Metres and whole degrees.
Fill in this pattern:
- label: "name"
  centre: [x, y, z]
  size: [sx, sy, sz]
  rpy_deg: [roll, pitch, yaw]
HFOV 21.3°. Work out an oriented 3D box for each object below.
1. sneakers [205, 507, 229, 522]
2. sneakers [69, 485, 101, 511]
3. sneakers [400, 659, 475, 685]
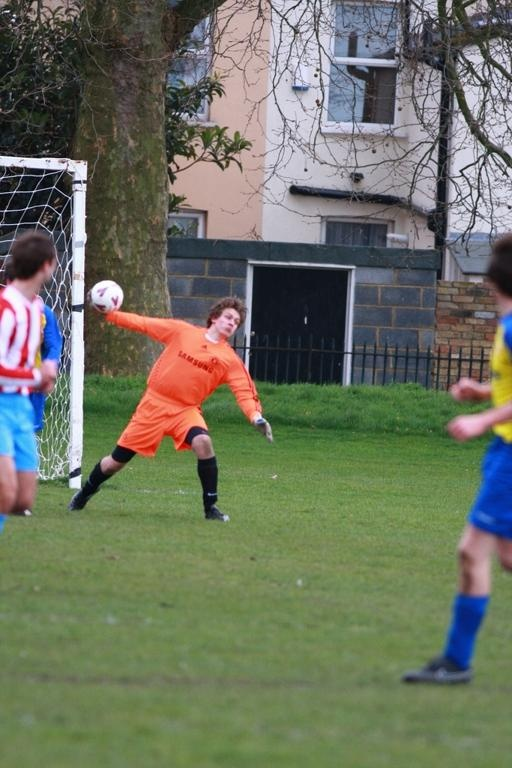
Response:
- label: "sneakers"
  centre: [-0.231, 0.818, 8.707]
  size: [0.174, 0.072, 0.070]
  rpy_deg: [1, 1, 40]
- label: "sneakers"
  centre: [-1.123, 0.737, 8.804]
  size: [0.091, 0.250, 0.098]
  rpy_deg: [45, 9, 3]
- label: "sneakers"
  centre: [0.803, 1.229, 5.971]
  size: [0.214, 0.094, 0.127]
  rpy_deg: [6, -10, -14]
